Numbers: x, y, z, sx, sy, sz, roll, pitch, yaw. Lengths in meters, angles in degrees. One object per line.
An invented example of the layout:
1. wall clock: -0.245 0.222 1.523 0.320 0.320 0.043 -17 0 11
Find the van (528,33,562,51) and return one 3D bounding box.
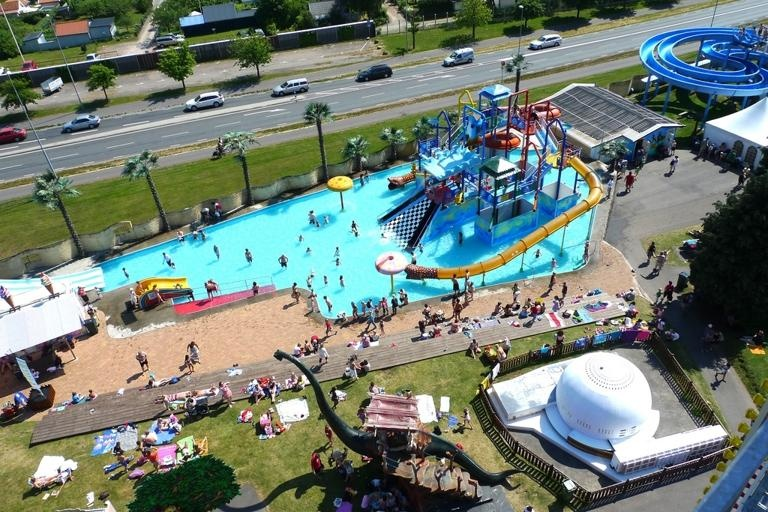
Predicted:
1. van: 29.351 -39.022 121.309 6.053 1.953 2.736 -13 39 -13

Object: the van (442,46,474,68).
1. van: 13.171 -35.638 117.536 5.845 2.736 3.083 -10 50 -5

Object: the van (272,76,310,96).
1. van: -15.847 -28.650 111.477 6.068 2.072 2.703 -9 52 -5

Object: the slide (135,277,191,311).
1. slide: -25.349 4.610 76.229 5.685 2.031 3.367 -12 44 -28

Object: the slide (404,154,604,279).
1. slide: 16.277 -2.025 77.885 21.810 3.365 13.181 -31 35 -2

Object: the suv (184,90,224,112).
1. suv: -29.414 -25.287 109.022 6.666 2.208 2.938 -11 49 -8
